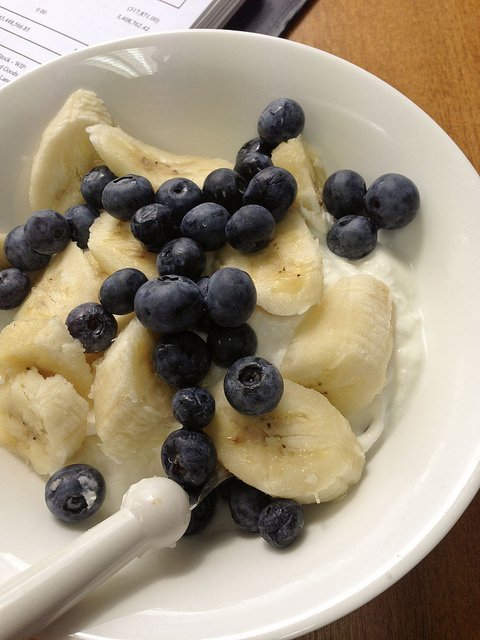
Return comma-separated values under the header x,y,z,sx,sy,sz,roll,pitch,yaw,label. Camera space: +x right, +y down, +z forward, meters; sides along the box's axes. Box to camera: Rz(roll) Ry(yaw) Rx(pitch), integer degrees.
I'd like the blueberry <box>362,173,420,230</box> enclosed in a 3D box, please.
x,y,z,sx,sy,sz,roll,pitch,yaw,label
0.334,-0.267,1.493,0.135,0.125,0.127,2,93,-13,blueberry

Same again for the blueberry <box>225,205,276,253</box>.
x,y,z,sx,sy,sz,roll,pitch,yaw,label
0.025,-0.183,1.404,0.103,0.100,0.101,4,79,2,blueberry

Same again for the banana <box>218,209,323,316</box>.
x,y,z,sx,sy,sz,roll,pitch,yaw,label
0.137,-0.110,1.447,0.062,0.264,0.174,-38,82,29,banana

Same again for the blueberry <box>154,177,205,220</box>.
x,y,z,sx,sy,sz,roll,pitch,yaw,label
-0.135,-0.254,1.500,0.106,0.091,0.084,5,67,-6,blueberry

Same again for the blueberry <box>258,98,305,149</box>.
x,y,z,sx,sy,sz,roll,pitch,yaw,label
0.093,-0.445,1.516,0.099,0.096,0.098,11,67,2,blueberry

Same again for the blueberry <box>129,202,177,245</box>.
x,y,z,sx,sy,sz,roll,pitch,yaw,label
-0.177,-0.194,1.370,0.079,0.094,0.068,-4,69,-6,blueberry

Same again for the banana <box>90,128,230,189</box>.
x,y,z,sx,sy,sz,roll,pitch,yaw,label
-0.193,-0.337,1.581,0.294,0.081,0.134,21,48,-17,banana

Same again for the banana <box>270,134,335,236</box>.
x,y,z,sx,sy,sz,roll,pitch,yaw,label
0.144,-0.291,1.510,0.065,0.216,0.199,-14,81,22,banana

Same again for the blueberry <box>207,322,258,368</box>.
x,y,z,sx,sy,sz,roll,pitch,yaw,label
-0.016,0.050,1.330,0.099,0.048,0.080,1,81,-2,blueberry

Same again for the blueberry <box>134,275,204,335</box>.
x,y,z,sx,sy,sz,roll,pitch,yaw,label
-0.135,-0.036,1.311,0.151,0.094,0.128,-11,30,-7,blueberry

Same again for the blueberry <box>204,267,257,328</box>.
x,y,z,sx,sy,sz,roll,pitch,yaw,label
-0.019,-0.045,1.276,0.124,0.111,0.124,4,97,22,blueberry

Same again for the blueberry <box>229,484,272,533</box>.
x,y,z,sx,sy,sz,roll,pitch,yaw,label
0.019,0.363,1.311,0.083,0.101,0.072,0,89,0,blueberry

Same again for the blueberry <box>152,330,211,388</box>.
x,y,z,sx,sy,sz,roll,pitch,yaw,label
-0.107,0.076,1.337,0.136,0.123,0.111,-8,70,4,blueberry

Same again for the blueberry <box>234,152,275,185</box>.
x,y,z,sx,sy,sz,roll,pitch,yaw,label
0.027,-0.339,1.479,0.076,0.046,0.083,2,32,5,blueberry

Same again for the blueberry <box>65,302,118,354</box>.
x,y,z,sx,sy,sz,roll,pitch,yaw,label
-0.306,0.024,1.415,0.093,0.095,0.087,32,88,13,blueberry

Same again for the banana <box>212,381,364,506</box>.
x,y,z,sx,sy,sz,roll,pitch,yaw,label
0.089,0.237,1.304,0.301,0.080,0.204,6,66,1,banana

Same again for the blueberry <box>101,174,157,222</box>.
x,y,z,sx,sy,sz,roll,pitch,yaw,label
-0.240,-0.266,1.475,0.130,0.091,0.118,-5,31,5,blueberry

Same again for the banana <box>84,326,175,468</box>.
x,y,z,sx,sy,sz,roll,pitch,yaw,label
-0.233,0.137,1.337,0.070,0.222,0.248,16,104,39,banana

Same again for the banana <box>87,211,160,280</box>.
x,y,z,sx,sy,sz,roll,pitch,yaw,label
-0.287,-0.184,1.505,0.045,0.175,0.133,-42,93,13,banana

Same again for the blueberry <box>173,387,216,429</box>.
x,y,z,sx,sy,sz,roll,pitch,yaw,label
-0.086,0.163,1.261,0.088,0.076,0.070,1,92,9,blueberry

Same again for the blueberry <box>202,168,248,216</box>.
x,y,z,sx,sy,sz,roll,pitch,yaw,label
-0.033,-0.282,1.500,0.104,0.089,0.095,15,99,-6,blueberry

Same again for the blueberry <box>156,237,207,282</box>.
x,y,z,sx,sy,sz,roll,pitch,yaw,label
-0.123,-0.116,1.377,0.105,0.086,0.095,-9,118,-2,blueberry

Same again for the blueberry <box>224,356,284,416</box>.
x,y,z,sx,sy,sz,roll,pitch,yaw,label
0.025,0.121,1.256,0.119,0.059,0.100,-3,81,21,blueberry
